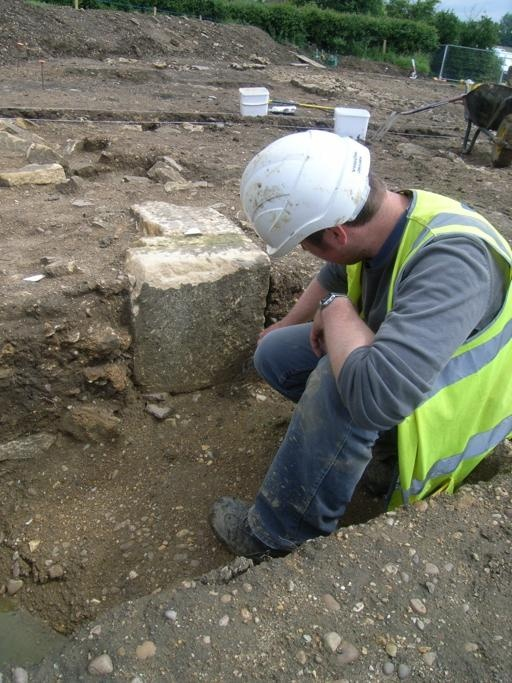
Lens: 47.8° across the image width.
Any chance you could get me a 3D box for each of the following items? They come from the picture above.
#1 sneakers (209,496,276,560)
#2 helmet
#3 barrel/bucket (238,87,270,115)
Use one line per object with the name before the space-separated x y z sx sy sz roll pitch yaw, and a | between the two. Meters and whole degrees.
sneakers | -0.048 0.569 1.828 0.099 0.098 0.242 -30 50 -26
helmet | 0.122 -0.364 1.480 0.307 0.330 0.212 6 26 -11
barrel/bucket | -0.003 -2.671 6.404 0.406 0.273 0.315 -6 55 -12
